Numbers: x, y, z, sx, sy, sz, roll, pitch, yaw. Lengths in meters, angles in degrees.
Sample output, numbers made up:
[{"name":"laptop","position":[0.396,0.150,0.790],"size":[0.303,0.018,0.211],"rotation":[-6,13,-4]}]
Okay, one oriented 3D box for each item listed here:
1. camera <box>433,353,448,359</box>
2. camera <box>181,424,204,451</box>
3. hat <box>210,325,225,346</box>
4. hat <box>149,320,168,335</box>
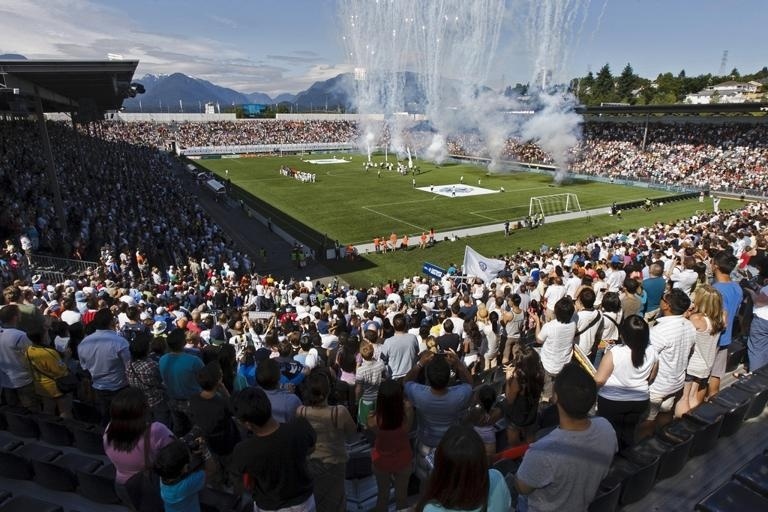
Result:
[{"name":"camera","position":[0.939,1.657,7.905],"size":[0.208,0.046,0.185],"rotation":[1,6,2]},{"name":"camera","position":[-2.868,2.706,7.182],"size":[0.289,0.129,0.292],"rotation":[8,1,43]},{"name":"hat","position":[-4.263,2.066,12.385],"size":[0.420,0.483,0.502],"rotation":[-4,41,-24]},{"name":"hat","position":[-5.284,1.710,11.364],"size":[0.470,0.136,0.456],"rotation":[-16,27,-22]}]
